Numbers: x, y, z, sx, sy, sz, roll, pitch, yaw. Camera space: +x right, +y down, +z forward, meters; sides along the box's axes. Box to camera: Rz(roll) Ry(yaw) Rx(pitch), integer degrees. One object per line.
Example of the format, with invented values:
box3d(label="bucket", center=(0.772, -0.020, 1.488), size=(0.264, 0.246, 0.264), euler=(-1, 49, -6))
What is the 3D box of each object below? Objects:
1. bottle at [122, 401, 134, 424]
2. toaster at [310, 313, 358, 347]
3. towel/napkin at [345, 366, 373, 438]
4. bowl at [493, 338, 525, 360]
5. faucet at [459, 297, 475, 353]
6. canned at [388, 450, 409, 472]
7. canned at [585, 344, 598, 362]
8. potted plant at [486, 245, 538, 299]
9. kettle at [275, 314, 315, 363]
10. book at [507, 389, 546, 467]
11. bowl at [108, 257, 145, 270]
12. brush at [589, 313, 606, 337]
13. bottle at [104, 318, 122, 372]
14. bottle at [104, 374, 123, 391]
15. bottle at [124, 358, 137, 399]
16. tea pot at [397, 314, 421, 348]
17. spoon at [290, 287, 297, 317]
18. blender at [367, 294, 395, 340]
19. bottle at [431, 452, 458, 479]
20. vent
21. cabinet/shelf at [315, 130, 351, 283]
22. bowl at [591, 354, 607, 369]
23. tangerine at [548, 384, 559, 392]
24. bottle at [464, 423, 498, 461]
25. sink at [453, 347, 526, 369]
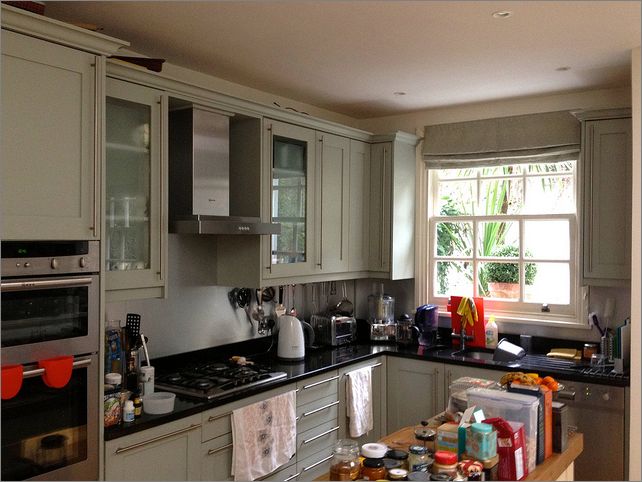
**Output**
box3d(label="bottle", center=(-1.032, 0.915, 2.560), size=(0.056, 0.121, 0.066), euler=(-2, 0, -18))
box3d(label="toaster", center=(0.120, 0.798, 4.357), size=(0.291, 0.289, 0.377), euler=(-1, -1, 40))
box3d(label="towel/napkin", center=(0.325, 1.297, 3.885), size=(0.080, 0.538, 0.354), euler=(-1, 0, 34))
box3d(label="bowl", center=(1.500, 0.875, 3.823), size=(0.120, 0.165, 0.165), euler=(6, -23, 36))
box3d(label="faucet", center=(1.310, 0.736, 4.278), size=(0.187, 0.430, 0.150), euler=(-1, 0, -8))
box3d(label="canned", center=(0.335, 0.944, 2.060), size=(0.060, 0.059, 0.061), euler=(0, -3, 0))
box3d(label="canned", center=(2.103, 0.872, 3.716), size=(0.097, 0.174, 0.094), euler=(3, 4, 42))
box3d(label="potted plant", center=(1.669, 0.301, 4.427), size=(0.460, 0.500, 0.429), euler=(1, -7, -1))
box3d(label="kettle", center=(-0.243, 0.769, 3.822), size=(0.223, 0.356, 0.164), euler=(-2, 0, -6))
box3d(label="book", center=(0.967, 0.854, 2.240), size=(0.162, 0.324, 0.117), euler=(-1, 0, 24))
box3d(label="bowl", center=(-1.124, 0.134, 2.768), size=(0.026, 0.069, 0.243), euler=(-1, 1, 36))
box3d(label="brush", center=(2.227, 0.711, 3.830), size=(0.081, 0.269, 0.071), euler=(-31, 13, -35))
box3d(label="bottle", center=(-1.238, 0.657, 2.852), size=(0.097, 0.313, 0.174), euler=(-2, 0, -23))
box3d(label="bottle", center=(-1.141, 0.763, 2.612), size=(0.080, 0.082, 0.185), euler=(-2, 0, -20))
box3d(label="bottle", center=(-1.137, 0.814, 2.845), size=(0.076, 0.236, 0.132), euler=(-2, 0, -33))
box3d(label="tea pot", center=(0.802, 0.814, 4.410), size=(0.220, 0.260, 0.216), euler=(-1, 0, 0))
box3d(label="spoon", center=(-0.245, 0.542, 4.264), size=(0.043, 0.257, 0.035), euler=(0, 5, 4))
box3d(label="blender", center=(0.592, 0.730, 4.588), size=(0.296, 0.447, 0.280), euler=(0, -4, -25))
box3d(label="bottle", center=(0.503, 0.896, 1.921), size=(0.078, 0.086, 0.079), euler=(1, -3, -39))
box3d(label="vent", center=(-0.775, -0.387, 3.552), size=(0.744, 0.988, 0.853), euler=(-2, -2, 37))
box3d(label="cabinet/shelf", center=(0.122, -0.314, 4.104), size=(0.110, 1.154, 0.403), euler=(-1, 0, 31))
box3d(label="bowl", center=(2.069, 0.891, 3.556), size=(0.084, 0.083, 0.082), euler=(0, -5, 0))
box3d(label="tangerine", center=(1.167, 0.734, 2.400), size=(0.044, 0.027, 0.035), euler=(-11, 4, 9))
box3d(label="bottle", center=(0.660, 0.820, 1.988), size=(0.137, 0.153, 0.111), euler=(-6, -7, 35))
box3d(label="sink", center=(1.339, 0.948, 3.813), size=(0.351, 0.133, 0.277), euler=(-5, -7, 40))
